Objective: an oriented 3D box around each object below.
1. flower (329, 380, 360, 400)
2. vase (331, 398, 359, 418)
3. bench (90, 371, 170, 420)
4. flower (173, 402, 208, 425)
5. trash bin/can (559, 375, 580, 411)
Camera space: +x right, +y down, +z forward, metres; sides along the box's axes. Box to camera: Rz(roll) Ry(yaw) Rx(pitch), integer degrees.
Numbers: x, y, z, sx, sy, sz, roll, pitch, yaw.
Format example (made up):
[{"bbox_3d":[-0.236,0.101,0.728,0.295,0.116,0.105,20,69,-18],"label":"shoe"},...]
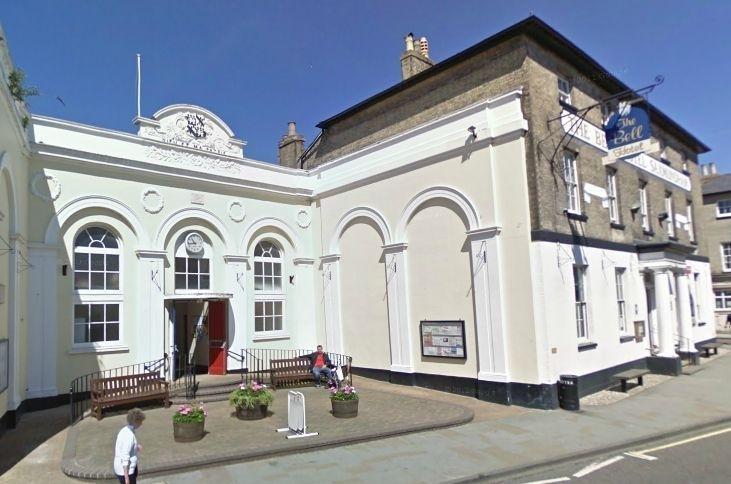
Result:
[{"bbox_3d":[-0.846,5.303,19.416,0.793,0.438,1.039,-2,5,-27],"label":"flower"},{"bbox_3d":[-0.716,5.798,19.111,0.719,0.407,0.715,7,-14,-24],"label":"vase"},{"bbox_3d":[-8.587,5.515,19.877,0.871,1.224,2.635,0,-4,39],"label":"bench"},{"bbox_3d":[-5.601,5.399,17.452,0.778,0.484,0.776,1,-3,-5],"label":"flower"},{"bbox_3d":[7.483,5.461,20.047,0.757,1.230,0.409,1,4,16],"label":"trash bin/can"}]
